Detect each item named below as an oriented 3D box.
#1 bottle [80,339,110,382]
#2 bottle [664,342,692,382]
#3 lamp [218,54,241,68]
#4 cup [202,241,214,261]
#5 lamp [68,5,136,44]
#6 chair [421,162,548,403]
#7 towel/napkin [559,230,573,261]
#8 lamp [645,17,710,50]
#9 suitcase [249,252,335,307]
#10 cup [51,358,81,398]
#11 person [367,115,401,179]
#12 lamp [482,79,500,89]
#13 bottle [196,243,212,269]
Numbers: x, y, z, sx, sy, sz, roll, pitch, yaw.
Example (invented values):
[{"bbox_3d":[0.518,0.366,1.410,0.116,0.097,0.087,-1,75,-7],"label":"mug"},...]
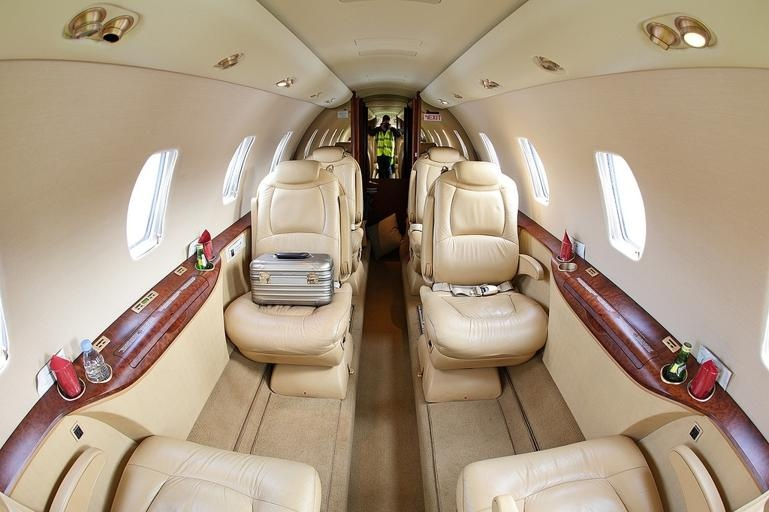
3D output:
[{"bbox_3d":[-1.764,0.611,2.831,0.139,0.285,0.205,-15,21,-35],"label":"bottle"},{"bbox_3d":[1.754,0.632,2.815,0.177,0.242,0.122,-17,22,-39],"label":"bottle"},{"bbox_3d":[-1.072,-1.328,3.193,0.159,0.079,0.201,-8,18,-18],"label":"lamp"},{"bbox_3d":[-1.504,-0.035,3.943,0.099,0.156,0.108,-2,20,1],"label":"cup"},{"bbox_3d":[-1.421,-1.159,2.336,0.195,0.139,0.318,11,22,39],"label":"lamp"},{"bbox_3d":[0.832,0.201,4.151,1.119,1.964,1.220,-1,17,5],"label":"chair"},{"bbox_3d":[1.593,-0.094,4.073,0.110,0.243,0.357,6,19,27],"label":"towel/napkin"},{"bbox_3d":[1.477,-1.117,2.355,0.164,0.151,0.311,-13,19,-30],"label":"lamp"},{"bbox_3d":[-0.812,0.180,4.231,0.708,0.449,0.537,0,18,3],"label":"suitcase"},{"bbox_3d":[-1.859,0.686,2.714,0.123,0.267,0.168,-16,22,-37],"label":"cup"},{"bbox_3d":[-0.015,-1.792,7.753,0.521,1.035,0.502,-4,17,-5],"label":"person"},{"bbox_3d":[0.923,-1.503,4.109,0.058,0.088,0.215,-7,6,27],"label":"lamp"},{"bbox_3d":[-1.527,0.016,3.911,0.127,0.198,0.112,5,19,24],"label":"bottle"}]
